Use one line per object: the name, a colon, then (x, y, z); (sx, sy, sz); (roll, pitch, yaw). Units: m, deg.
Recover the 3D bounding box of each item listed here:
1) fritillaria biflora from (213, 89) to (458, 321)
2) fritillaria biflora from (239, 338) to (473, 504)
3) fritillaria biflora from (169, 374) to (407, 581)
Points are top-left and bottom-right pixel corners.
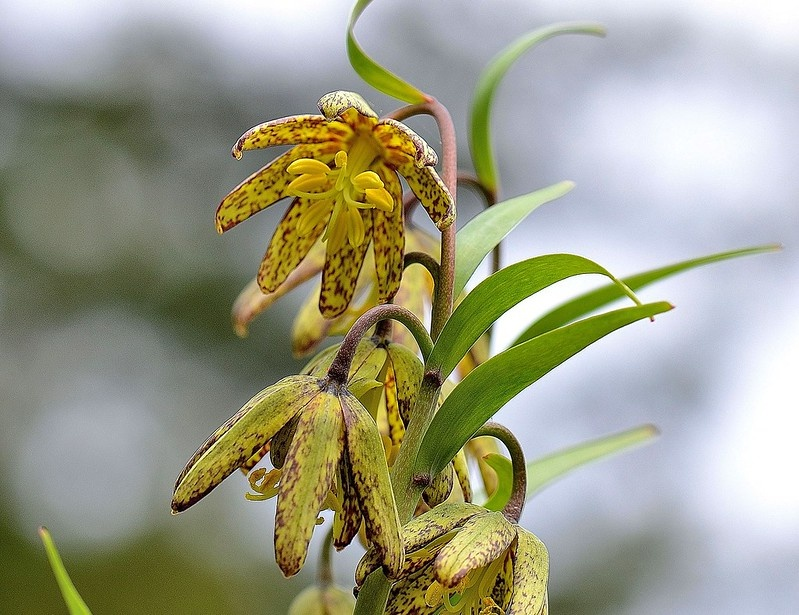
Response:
fritillaria biflora: (-0.106, -0.239, 1.808); (0.328, 0.160, 0.355); (-33, -81, 20)
fritillaria biflora: (-0.073, 0.136, 1.750); (0.258, 0.264, 0.311); (6, -44, 8)
fritillaria biflora: (-0.165, 0.266, 1.716); (0.248, 0.320, 0.245); (35, -76, 1)
